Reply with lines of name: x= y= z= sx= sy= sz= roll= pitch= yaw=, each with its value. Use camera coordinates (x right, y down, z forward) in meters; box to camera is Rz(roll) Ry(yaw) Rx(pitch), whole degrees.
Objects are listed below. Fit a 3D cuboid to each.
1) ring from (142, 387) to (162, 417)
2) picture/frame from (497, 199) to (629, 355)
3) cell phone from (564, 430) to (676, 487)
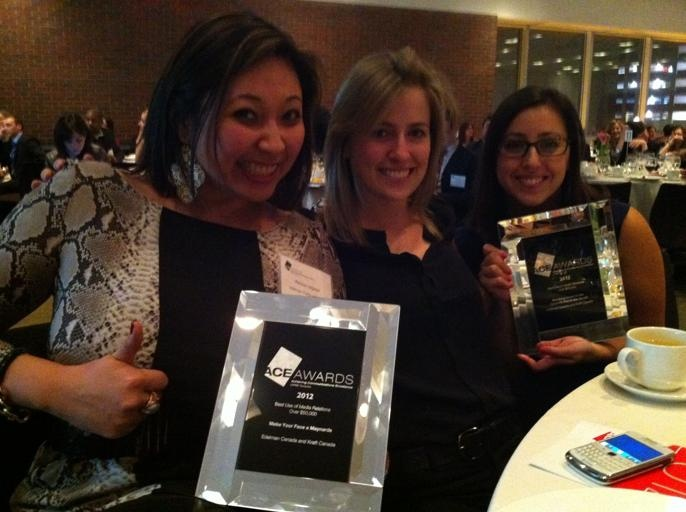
ring: x=-0.458 y=0.354 z=1.299 sx=0.044 sy=0.037 sz=0.048 roll=-2 pitch=10 yaw=37
picture/frame: x=0.679 y=0.084 z=1.673 sx=0.409 sy=0.537 sz=0.057 roll=-10 pitch=0 yaw=2
cell phone: x=0.506 y=0.372 z=0.996 sx=0.188 sy=0.034 sz=0.082 roll=-6 pitch=18 yaw=-17
